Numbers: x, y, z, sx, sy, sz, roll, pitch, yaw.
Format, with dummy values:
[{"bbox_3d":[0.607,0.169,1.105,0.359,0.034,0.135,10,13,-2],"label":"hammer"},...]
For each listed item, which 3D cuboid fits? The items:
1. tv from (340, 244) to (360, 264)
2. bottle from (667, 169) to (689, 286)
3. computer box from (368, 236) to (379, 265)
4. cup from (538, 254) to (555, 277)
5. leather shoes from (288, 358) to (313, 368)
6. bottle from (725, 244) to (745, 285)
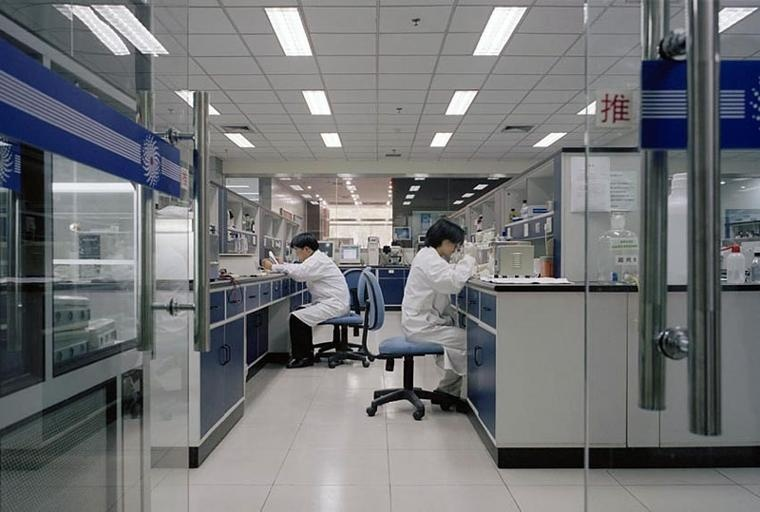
[{"bbox_3d":[-0.462,-0.022,9.275,0.364,0.357,0.270,0,-7,2],"label":"tv"},{"bbox_3d":[0.630,-0.056,1.190,0.026,0.241,0.079,1,5,14],"label":"bottle"},{"bbox_3d":[-0.099,-0.093,9.342,0.185,0.457,0.262,-1,5,-7],"label":"computer box"},{"bbox_3d":[0.915,0.052,3.122,0.090,0.172,0.124,1,5,13],"label":"cup"},{"bbox_3d":[-0.640,0.844,4.495,0.153,0.055,0.085,3,-2,-6],"label":"leather shoes"},{"bbox_3d":[0.712,0.016,1.127,0.050,0.079,0.020,-3,6,-27],"label":"bottle"}]
